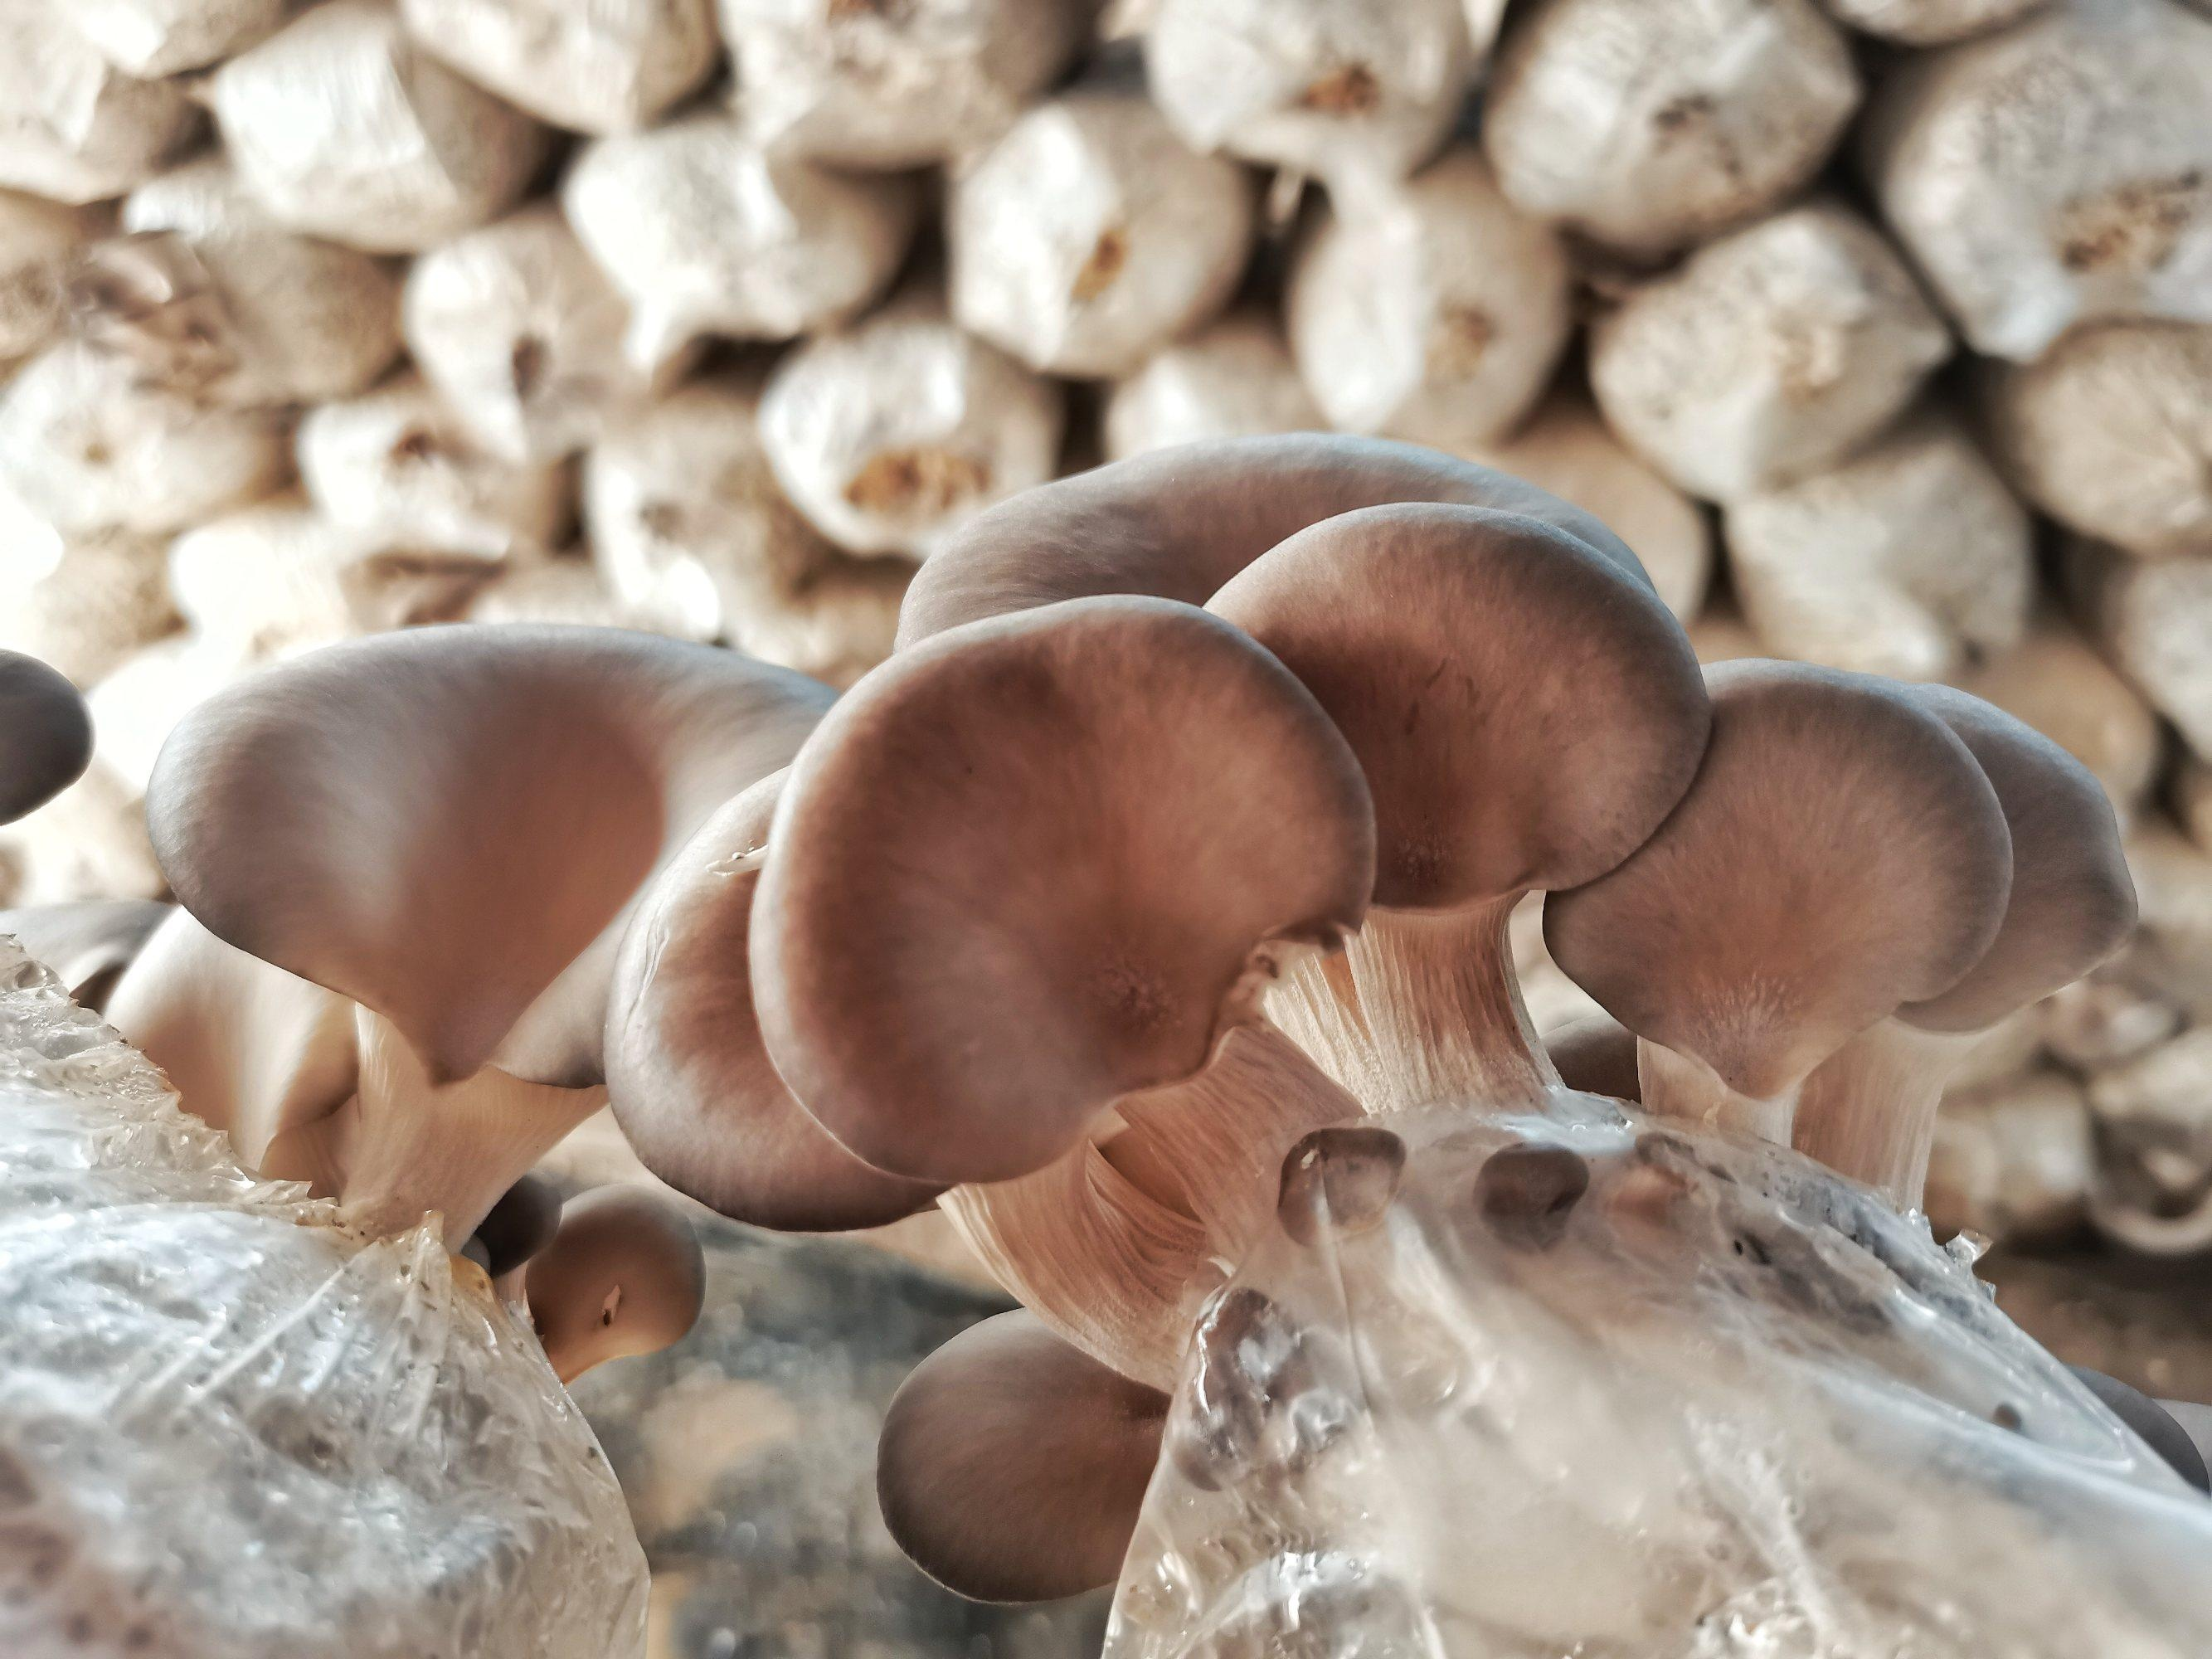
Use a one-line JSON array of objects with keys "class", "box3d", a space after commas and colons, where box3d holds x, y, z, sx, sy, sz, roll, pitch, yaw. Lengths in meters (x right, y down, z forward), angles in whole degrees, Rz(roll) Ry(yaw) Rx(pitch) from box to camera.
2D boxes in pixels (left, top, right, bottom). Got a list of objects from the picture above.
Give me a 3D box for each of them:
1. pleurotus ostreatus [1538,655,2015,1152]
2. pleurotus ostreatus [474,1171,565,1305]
[{"class": "pleurotus ostreatus", "box3d": [0.273, 0.022, 1.324, 0.149, 0.152, 0.156, -19, 72, 11]}, {"class": "pleurotus ostreatus", "box3d": [-0.258, 0.181, 1.432, 0.039, 0.016, 0.049, 46, 66, -21]}]
